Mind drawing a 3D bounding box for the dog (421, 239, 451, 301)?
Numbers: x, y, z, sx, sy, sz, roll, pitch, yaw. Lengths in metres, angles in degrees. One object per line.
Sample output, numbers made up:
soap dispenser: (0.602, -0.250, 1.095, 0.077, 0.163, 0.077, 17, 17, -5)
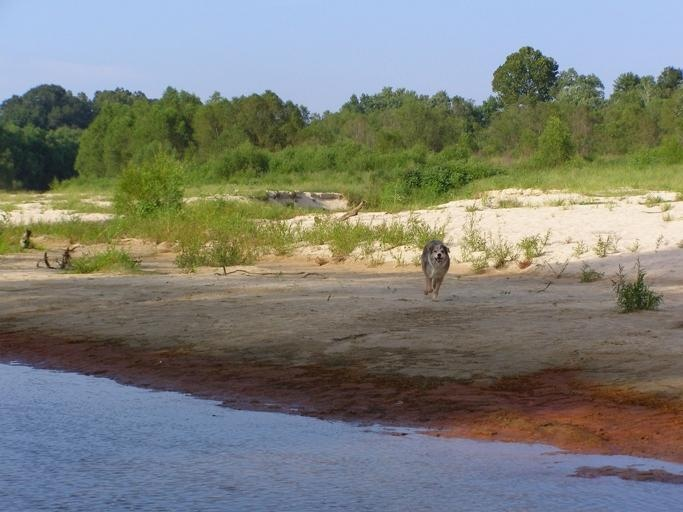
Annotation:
dog: (1.475, 0.226, 14.324, 0.411, 0.811, 1.368, 5, 1, 2)
